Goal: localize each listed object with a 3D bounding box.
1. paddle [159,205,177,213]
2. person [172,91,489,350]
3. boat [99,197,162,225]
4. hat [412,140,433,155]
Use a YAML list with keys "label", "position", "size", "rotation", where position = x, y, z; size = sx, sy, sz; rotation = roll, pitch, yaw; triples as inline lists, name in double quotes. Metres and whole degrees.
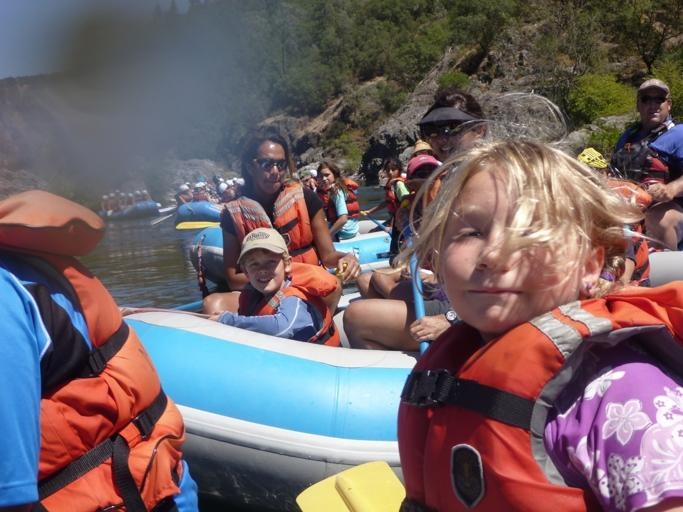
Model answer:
- label: "paddle"
  position: [-5.039, -1.371, 17.095]
  size: [0.350, 0.164, 0.663]
  rotation: [-2, 13, 6]
- label: "person"
  position: [0.076, -0.130, 2.974]
  size: [1.610, 0.844, 1.004]
  rotation: [2, -2, -40]
- label: "boat"
  position: [-5.967, -1.239, 16.540]
  size: [1.173, 0.537, 1.523]
  rotation: [-7, 2, -40]
- label: "hat"
  position: [0.513, -0.688, 3.721]
  size: [0.131, 0.106, 0.185]
  rotation: [-1, -4, 11]
